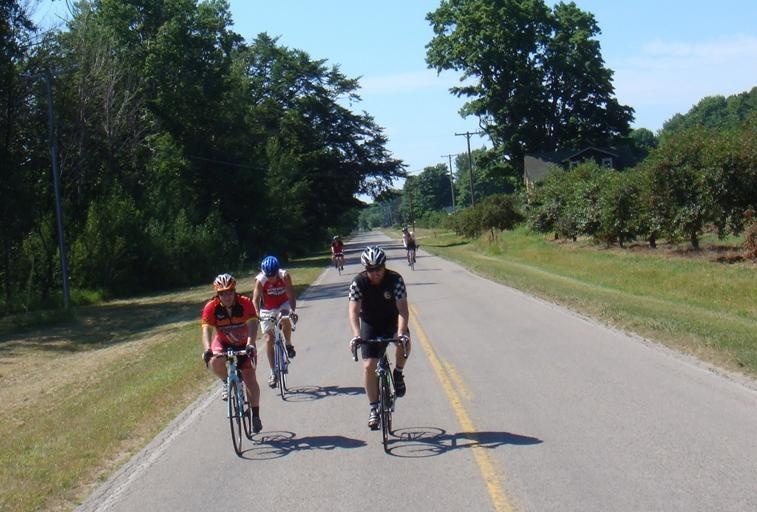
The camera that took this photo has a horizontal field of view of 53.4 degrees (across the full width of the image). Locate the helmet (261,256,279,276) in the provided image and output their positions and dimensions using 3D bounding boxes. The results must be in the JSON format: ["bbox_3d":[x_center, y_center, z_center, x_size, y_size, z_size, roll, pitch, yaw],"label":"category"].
[{"bbox_3d":[-2.618,0.177,18.186,0.321,0.471,0.481,2,28,-13],"label":"helmet"}]

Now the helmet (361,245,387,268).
[{"bbox_3d":[-0.105,0.002,15.712,0.485,0.427,0.575,-5,13,-2],"label":"helmet"}]

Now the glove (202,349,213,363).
[{"bbox_3d":[-3.572,2.074,15.847,0.174,0.283,0.110,7,-12,-1],"label":"glove"}]

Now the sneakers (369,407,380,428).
[{"bbox_3d":[-0.076,3.328,15.458,0.185,0.487,0.212,-1,12,15],"label":"sneakers"}]

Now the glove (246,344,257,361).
[{"bbox_3d":[-2.676,2.045,15.955,0.102,0.345,0.227,-9,8,-11],"label":"glove"}]

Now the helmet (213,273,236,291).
[{"bbox_3d":[-3.280,0.539,16.185,0.355,0.306,0.572,1,-1,-7],"label":"helmet"}]

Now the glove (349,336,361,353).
[{"bbox_3d":[-0.475,1.790,15.461,0.107,0.317,0.197,6,2,38],"label":"glove"}]

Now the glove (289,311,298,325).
[{"bbox_3d":[-2.069,1.506,18.503,0.169,0.253,0.377,-1,-18,-7],"label":"glove"}]

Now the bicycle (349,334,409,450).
[{"bbox_3d":[0.130,2.671,15.800,0.944,2.239,1.152,7,16,41],"label":"bicycle"}]

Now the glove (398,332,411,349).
[{"bbox_3d":[0.564,1.724,15.569,0.217,0.310,0.286,-4,-15,-9],"label":"glove"}]

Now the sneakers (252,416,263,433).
[{"bbox_3d":[-2.587,3.598,16.092,0.200,0.298,0.281,4,-9,-18],"label":"sneakers"}]

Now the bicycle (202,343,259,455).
[{"bbox_3d":[-3.005,2.995,15.858,0.659,2.028,1.104,-2,12,8],"label":"bicycle"}]
